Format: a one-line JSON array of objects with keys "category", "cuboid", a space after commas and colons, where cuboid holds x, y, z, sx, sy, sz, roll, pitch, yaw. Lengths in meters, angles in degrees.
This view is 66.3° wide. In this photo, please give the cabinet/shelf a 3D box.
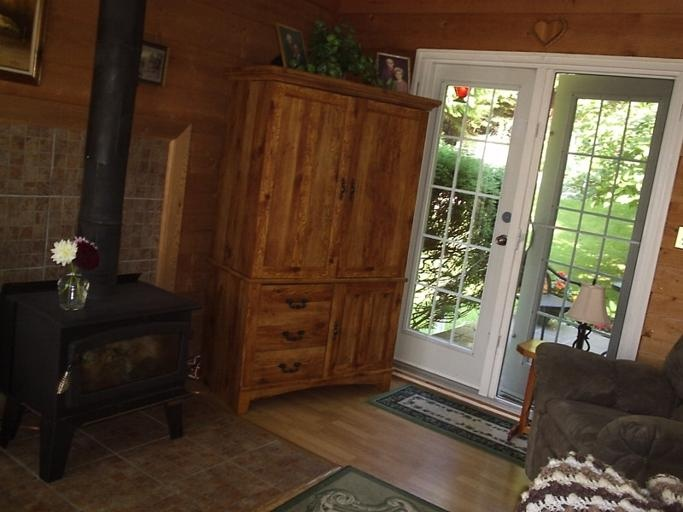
[{"category": "cabinet/shelf", "cuboid": [-0.179, -0.109, 3.481, 1.265, 2.121, 0.622, -2, 16, -33]}]

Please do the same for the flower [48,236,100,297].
[{"category": "flower", "cuboid": [-1.290, 0.041, 2.532, 0.247, 0.226, 0.207, 23, 25, 13]}]

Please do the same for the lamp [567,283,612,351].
[{"category": "lamp", "cuboid": [1.527, 0.424, 3.288, 0.283, 0.474, 0.230, 8, 11, 8]}]

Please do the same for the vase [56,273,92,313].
[{"category": "vase", "cuboid": [-1.239, 0.157, 2.429, 0.193, 0.194, 0.174, 3, 7, -19]}]
